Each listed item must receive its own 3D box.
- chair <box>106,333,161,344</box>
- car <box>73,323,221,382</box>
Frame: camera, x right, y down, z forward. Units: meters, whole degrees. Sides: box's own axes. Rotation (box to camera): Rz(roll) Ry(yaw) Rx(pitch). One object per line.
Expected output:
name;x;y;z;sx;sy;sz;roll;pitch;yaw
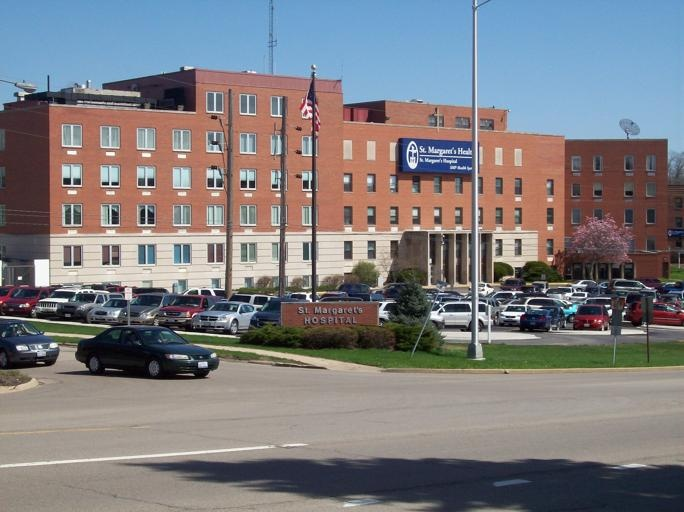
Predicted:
chair;-7.987;3.137;49.438;1.451;0.322;0.698;1;0;25
car;-7.475;3.720;49.467;4.729;1.309;2.112;-1;-4;32
